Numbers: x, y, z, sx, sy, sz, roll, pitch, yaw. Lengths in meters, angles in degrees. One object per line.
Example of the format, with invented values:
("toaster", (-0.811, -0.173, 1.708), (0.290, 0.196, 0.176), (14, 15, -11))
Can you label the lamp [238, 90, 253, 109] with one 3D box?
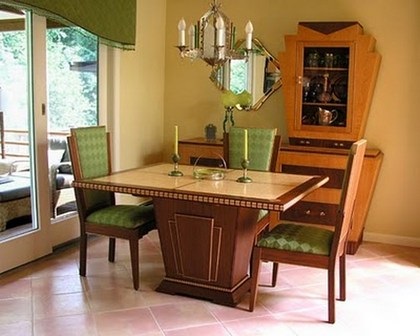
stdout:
("lamp", (0.431, -0.834, 4.293), (0.178, 0.227, 0.229), (3, 10, 6))

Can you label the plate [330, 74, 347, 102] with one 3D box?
("plate", (1.314, -0.804, 3.552), (0.168, 0.266, 0.025), (10, 14, 37))

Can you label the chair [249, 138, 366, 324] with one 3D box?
("chair", (0.742, 0.376, 2.642), (0.681, 1.218, 0.935), (6, 11, 22))

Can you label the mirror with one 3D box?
("mirror", (0.454, -1.074, 3.965), (1.027, 0.855, 0.047), (2, 9, 25))

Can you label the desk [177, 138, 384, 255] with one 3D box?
("desk", (0.981, 0.161, 3.970), (0.719, 1.229, 2.246), (-12, 10, 32))

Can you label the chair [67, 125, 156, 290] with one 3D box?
("chair", (-0.764, 0.312, 2.987), (0.775, 1.235, 0.718), (3, 7, 6))

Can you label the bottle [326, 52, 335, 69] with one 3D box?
("bottle", (1.224, -1.099, 3.542), (0.094, 0.168, 0.092), (-9, 35, 6))

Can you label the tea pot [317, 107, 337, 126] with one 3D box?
("tea pot", (1.208, -0.527, 3.541), (0.174, 0.175, 0.192), (7, 11, 5))

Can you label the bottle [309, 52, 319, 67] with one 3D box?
("bottle", (1.071, -1.125, 3.590), (0.094, 0.171, 0.094), (-2, 19, 1))

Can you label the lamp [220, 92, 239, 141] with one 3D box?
("lamp", (0.224, -0.612, 4.269), (0.203, 0.620, 0.191), (1, 7, 5))
